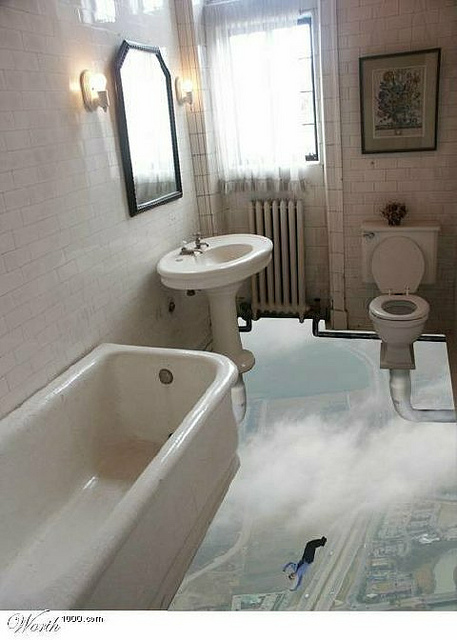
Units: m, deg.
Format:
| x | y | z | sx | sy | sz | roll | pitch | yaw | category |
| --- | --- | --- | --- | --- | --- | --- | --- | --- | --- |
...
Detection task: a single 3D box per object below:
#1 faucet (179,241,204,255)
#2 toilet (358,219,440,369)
| x | y | z | sx | sy | sz | roll | pitch | yaw | category |
| --- | --- | --- | --- | --- | --- | --- | --- | --- | --- |
| -0.275 | -0.526 | 3.050 | 0.150 | 0.089 | 0.087 | 6 | 29 | 15 | faucet |
| 1.336 | -0.239 | 3.218 | 0.609 | 0.759 | 0.755 | -6 | 3 | 18 | toilet |
